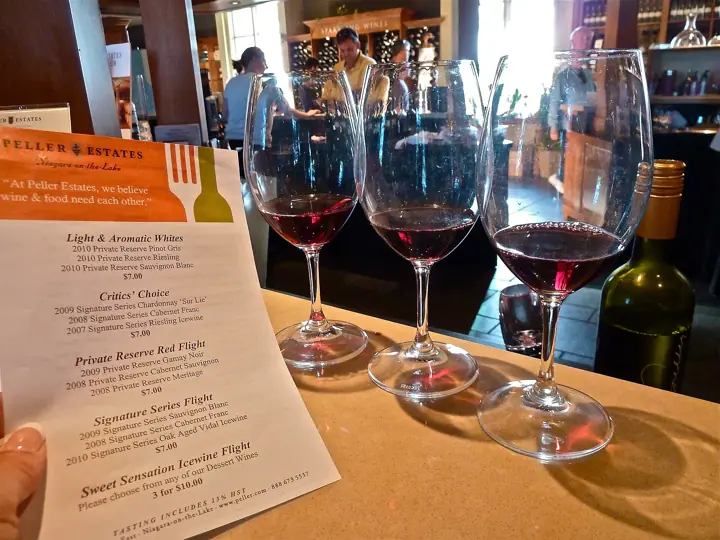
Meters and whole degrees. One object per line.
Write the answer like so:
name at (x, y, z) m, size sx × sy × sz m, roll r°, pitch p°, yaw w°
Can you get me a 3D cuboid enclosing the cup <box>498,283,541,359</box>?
cup at (0.253, 0.076, 0.822) m, size 0.063 × 0.099 × 0.065 m, roll -14°, pitch 15°, yaw 4°
